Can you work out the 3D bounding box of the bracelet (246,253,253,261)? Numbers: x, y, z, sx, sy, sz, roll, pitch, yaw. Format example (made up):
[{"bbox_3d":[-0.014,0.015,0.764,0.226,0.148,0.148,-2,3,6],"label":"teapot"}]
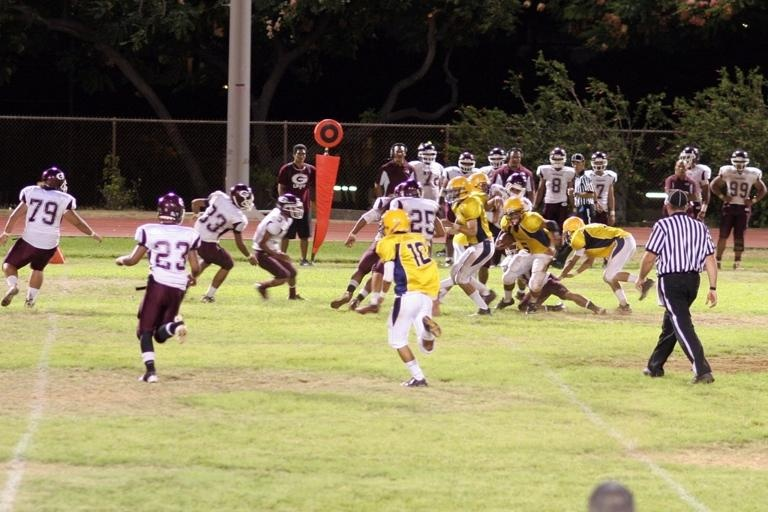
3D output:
[{"bbox_3d":[-2.218,0.007,16.414,0.183,0.108,0.163,0,3,0],"label":"bracelet"}]

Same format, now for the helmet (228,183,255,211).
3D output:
[{"bbox_3d":[-2.363,-1.013,16.991,0.501,0.404,0.358,-1,9,1],"label":"helmet"}]

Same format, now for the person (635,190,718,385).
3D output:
[{"bbox_3d":[3.810,0.372,12.918,1.043,2.430,0.828,4,12,12],"label":"person"}]

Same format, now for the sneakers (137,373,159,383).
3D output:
[{"bbox_3d":[-2.938,1.497,12.502,0.260,0.098,0.103,3,3,34],"label":"sneakers"}]

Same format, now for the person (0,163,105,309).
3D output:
[{"bbox_3d":[-5.677,-0.303,16.120,1.309,2.180,0.933,-8,15,-38],"label":"person"}]

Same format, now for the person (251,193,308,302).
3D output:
[{"bbox_3d":[-1.854,-0.110,17.109,0.719,1.807,0.989,4,12,12],"label":"person"}]

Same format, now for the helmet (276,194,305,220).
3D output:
[{"bbox_3d":[-1.612,-0.866,17.325,0.525,0.337,0.378,0,10,-5],"label":"helmet"}]

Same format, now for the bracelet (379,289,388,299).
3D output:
[{"bbox_3d":[-0.008,0.544,14.680,0.201,0.164,0.227,-2,0,1],"label":"bracelet"}]

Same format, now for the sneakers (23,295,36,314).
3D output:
[{"bbox_3d":[-5.687,0.763,16.038,0.138,0.156,0.376,4,-14,-24],"label":"sneakers"}]

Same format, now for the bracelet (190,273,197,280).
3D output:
[{"bbox_3d":[-2.758,0.279,14.524,0.107,0.095,0.109,19,15,-3],"label":"bracelet"}]

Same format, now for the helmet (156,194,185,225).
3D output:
[{"bbox_3d":[-2.767,-0.630,13.118,0.372,0.371,0.429,5,10,0],"label":"helmet"}]

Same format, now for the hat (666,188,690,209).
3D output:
[{"bbox_3d":[3.812,-0.758,12.968,0.300,0.193,0.387,5,25,16],"label":"hat"}]
